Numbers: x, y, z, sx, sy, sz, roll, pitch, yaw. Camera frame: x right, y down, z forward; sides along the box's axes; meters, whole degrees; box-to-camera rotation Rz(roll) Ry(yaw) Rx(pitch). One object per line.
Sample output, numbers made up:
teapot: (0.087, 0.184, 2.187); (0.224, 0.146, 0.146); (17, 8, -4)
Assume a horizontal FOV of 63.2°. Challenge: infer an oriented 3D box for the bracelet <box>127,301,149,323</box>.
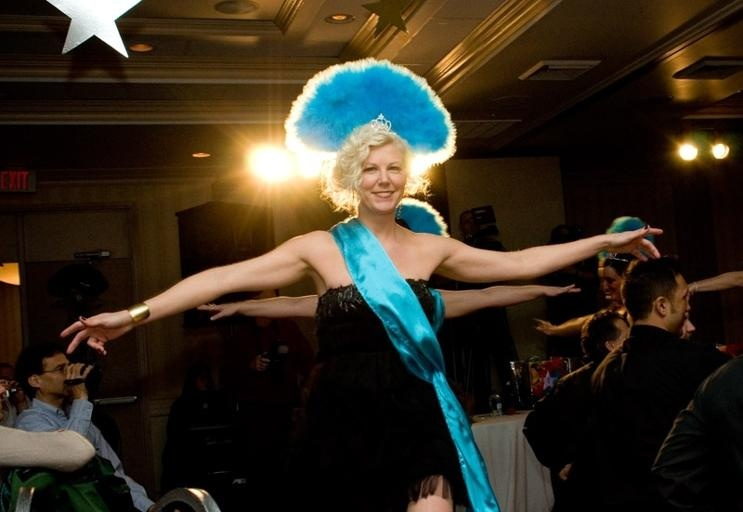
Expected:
bracelet: (-0.846, 0.206, 2.223); (0.090, 0.068, 0.076); (-17, 17, -22)
